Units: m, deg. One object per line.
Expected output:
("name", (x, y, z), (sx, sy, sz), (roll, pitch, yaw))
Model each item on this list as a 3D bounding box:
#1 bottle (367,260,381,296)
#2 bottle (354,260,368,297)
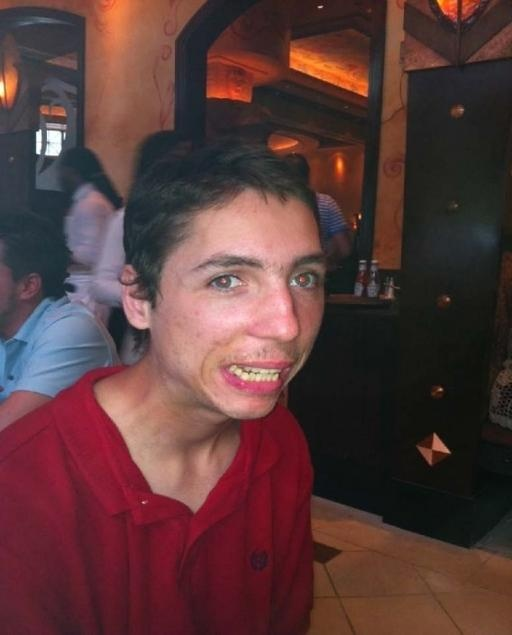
("bottle", (0.546, -0.178, 2.847), (0.057, 0.168, 0.165), (2, 5, 10))
("bottle", (0.508, -0.190, 2.938), (0.057, 0.173, 0.234), (2, 5, 10))
